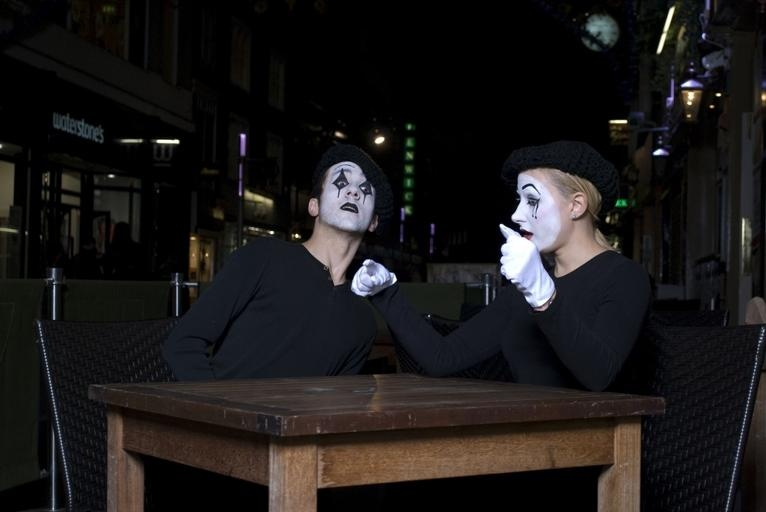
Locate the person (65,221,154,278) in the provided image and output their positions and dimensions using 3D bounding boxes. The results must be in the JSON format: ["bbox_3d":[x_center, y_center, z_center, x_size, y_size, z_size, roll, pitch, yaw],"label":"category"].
[{"bbox_3d":[-2.714,-0.060,8.161,0.824,0.585,0.565,4,-1,-31],"label":"person"}]

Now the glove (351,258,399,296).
[{"bbox_3d":[-0.049,0.109,3.864,0.181,0.166,0.072,28,5,-15],"label":"glove"}]

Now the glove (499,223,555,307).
[{"bbox_3d":[0.609,0.035,3.414,0.093,0.316,0.198,-21,-29,-31],"label":"glove"}]

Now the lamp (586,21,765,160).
[{"bbox_3d":[2.990,-1.678,8.295,1.321,1.439,0.759,3,0,10],"label":"lamp"}]
